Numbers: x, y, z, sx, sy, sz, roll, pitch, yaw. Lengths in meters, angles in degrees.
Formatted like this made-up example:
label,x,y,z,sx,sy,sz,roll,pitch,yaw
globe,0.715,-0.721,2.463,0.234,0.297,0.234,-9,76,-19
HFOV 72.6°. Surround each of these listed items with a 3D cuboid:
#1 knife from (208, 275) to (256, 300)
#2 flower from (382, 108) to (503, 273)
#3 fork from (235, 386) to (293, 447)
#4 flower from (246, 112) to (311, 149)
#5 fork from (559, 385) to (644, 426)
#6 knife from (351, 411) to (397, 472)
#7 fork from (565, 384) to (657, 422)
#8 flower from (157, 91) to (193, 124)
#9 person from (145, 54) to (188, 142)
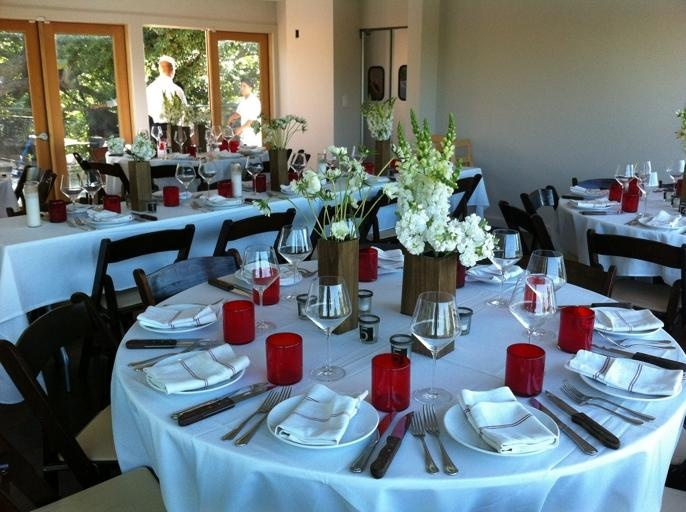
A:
label,x,y,z,sx,sy,sz,roll,pitch,yaw
knife,-0.456,0.099,1.932,0.255,0.028,0.085,16,21,36
flower,0.240,-0.117,1.536,0.253,0.479,0.287,-18,-22,32
fork,-0.187,0.384,1.206,0.038,0.036,0.297,-14,17,22
flower,-0.609,-1.176,4.527,0.554,0.407,0.531,0,12,30
fork,0.637,0.370,1.201,0.050,0.036,0.228,-15,26,-37
knife,0.070,0.411,1.056,0.036,0.016,0.264,3,12,15
fork,0.659,0.377,1.187,0.060,0.029,0.224,-26,31,-38
flower,-2.849,-2.494,7.892,0.384,0.608,0.439,4,19,9
person,-2.999,-2.831,8.138,0.484,0.454,1.418,9,-27,-12
